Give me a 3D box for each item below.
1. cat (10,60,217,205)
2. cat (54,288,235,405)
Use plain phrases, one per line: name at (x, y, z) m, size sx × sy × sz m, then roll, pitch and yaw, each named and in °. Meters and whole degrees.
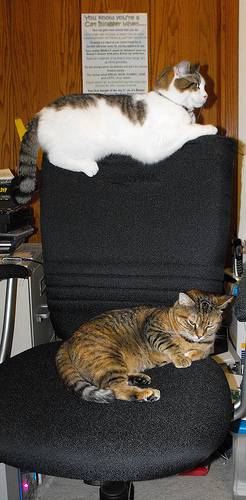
cat at (-0.022, -0.366, 1.120) m, size 0.568 × 0.445 × 0.246 m, roll -1°, pitch 2°, yaw 1°
cat at (0.045, 0.176, 0.859) m, size 0.280 × 0.163 × 0.380 m, roll 9°, pitch 15°, yaw 39°
